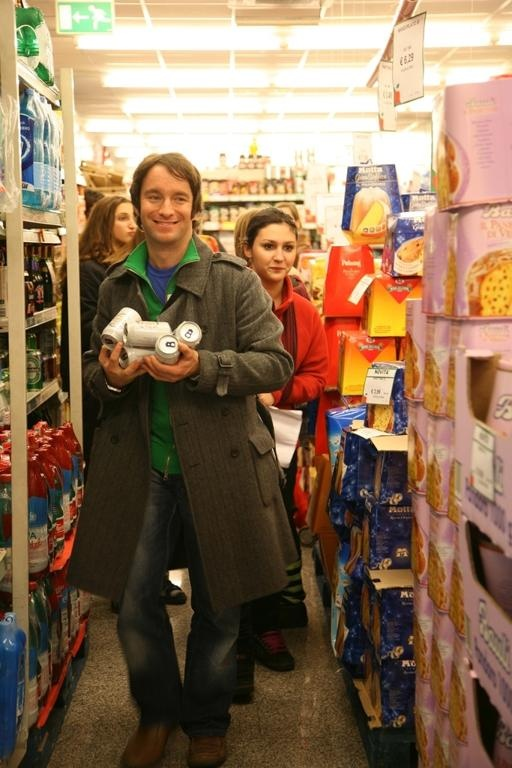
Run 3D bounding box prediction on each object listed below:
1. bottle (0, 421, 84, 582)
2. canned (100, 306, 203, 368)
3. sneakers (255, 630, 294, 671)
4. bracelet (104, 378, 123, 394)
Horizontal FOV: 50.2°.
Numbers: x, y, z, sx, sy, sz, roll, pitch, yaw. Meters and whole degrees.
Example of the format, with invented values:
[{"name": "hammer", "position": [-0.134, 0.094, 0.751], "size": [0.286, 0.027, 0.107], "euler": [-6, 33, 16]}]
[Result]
[{"name": "bottle", "position": [-0.696, 0.388, 1.756], "size": [0.176, 0.493, 0.536], "euler": [1, 4, -3]}, {"name": "canned", "position": [-0.269, -0.127, 1.396], "size": [0.190, 0.084, 0.149], "euler": [0, 43, 12]}, {"name": "sneakers", "position": [0.083, 1.162, 2.383], "size": [0.075, 0.095, 0.224], "euler": [-1, -9, -17]}, {"name": "bracelet", "position": [-0.405, 0.005, 1.555], "size": [0.041, 0.042, 0.028], "euler": [-2, 13, -14]}]
